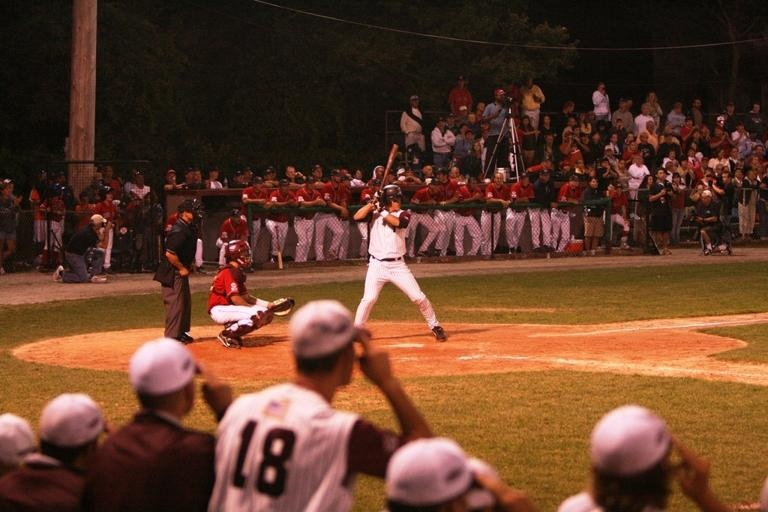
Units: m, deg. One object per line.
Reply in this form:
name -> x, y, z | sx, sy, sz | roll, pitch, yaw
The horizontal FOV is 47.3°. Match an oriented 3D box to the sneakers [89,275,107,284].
sneakers -> -7.335, 0.606, 22.480 | 0.528, 0.232, 0.173 | -2, -14, 12

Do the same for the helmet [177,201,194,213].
helmet -> -3.494, -0.857, 15.392 | 0.255, 0.130, 0.244 | -7, 5, 2

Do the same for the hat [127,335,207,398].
hat -> -1.504, 0.879, 6.199 | 0.437, 0.277, 0.557 | -1, 7, -41

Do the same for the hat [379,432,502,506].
hat -> 0.362, 1.352, 5.529 | 0.613, 0.288, 0.389 | -6, 15, -27

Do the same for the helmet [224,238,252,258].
helmet -> -2.566, -0.122, 15.369 | 0.458, 0.430, 0.348 | -2, 29, -3

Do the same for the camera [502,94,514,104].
camera -> 3.946, -4.991, 28.100 | 0.358, 0.129, 0.334 | 6, 8, -19

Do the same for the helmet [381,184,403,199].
helmet -> 0.101, -1.139, 15.553 | 0.290, 0.205, 0.280 | -8, 8, -38

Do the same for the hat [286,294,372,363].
hat -> -0.434, 0.448, 6.118 | 0.674, 0.341, 0.502 | -9, 13, -40

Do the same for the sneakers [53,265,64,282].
sneakers -> -8.344, 0.453, 22.544 | 0.200, 0.405, 0.143 | 15, -7, -1

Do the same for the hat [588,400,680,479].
hat -> 1.625, 1.124, 5.703 | 0.660, 0.244, 0.477 | -22, 11, -9

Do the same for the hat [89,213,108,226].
hat -> -7.136, -0.919, 22.109 | 0.440, 0.211, 0.295 | 0, 10, -34

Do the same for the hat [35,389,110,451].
hat -> -2.255, 1.182, 6.418 | 0.599, 0.277, 0.401 | -1, 17, -19
